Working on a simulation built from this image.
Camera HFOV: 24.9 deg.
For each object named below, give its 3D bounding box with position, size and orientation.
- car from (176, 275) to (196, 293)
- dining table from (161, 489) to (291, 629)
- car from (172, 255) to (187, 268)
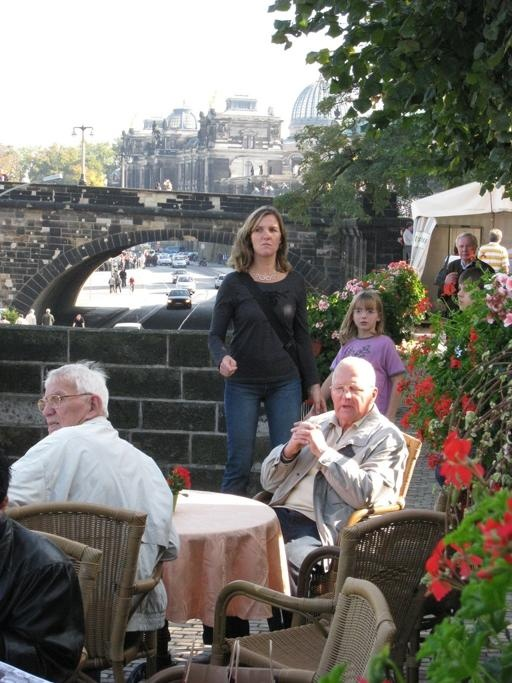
[{"bbox_3d":[-4.090,-3.495,66.898,0.930,0.850,1.705,0,-4,-7],"label":"car"},{"bbox_3d":[-0.103,0.746,4.179,0.474,0.228,0.440,4,-3,-41],"label":"dining table"},{"bbox_3d":[-6.643,-7.070,99.676,1.009,0.701,2.136,-2,2,-6],"label":"car"}]
